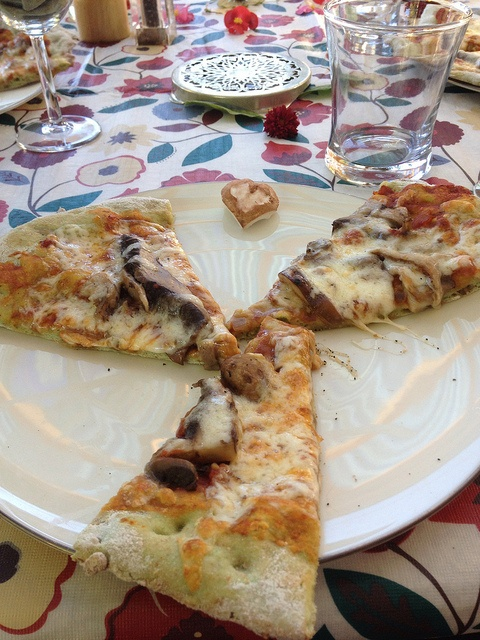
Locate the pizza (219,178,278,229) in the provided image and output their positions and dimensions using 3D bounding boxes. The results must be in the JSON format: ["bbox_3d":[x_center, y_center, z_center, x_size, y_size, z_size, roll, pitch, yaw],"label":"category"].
[{"bbox_3d":[0.016,-0.208,1.041,0.099,0.030,0.095,-27,54,-24],"label":"pizza"}]
